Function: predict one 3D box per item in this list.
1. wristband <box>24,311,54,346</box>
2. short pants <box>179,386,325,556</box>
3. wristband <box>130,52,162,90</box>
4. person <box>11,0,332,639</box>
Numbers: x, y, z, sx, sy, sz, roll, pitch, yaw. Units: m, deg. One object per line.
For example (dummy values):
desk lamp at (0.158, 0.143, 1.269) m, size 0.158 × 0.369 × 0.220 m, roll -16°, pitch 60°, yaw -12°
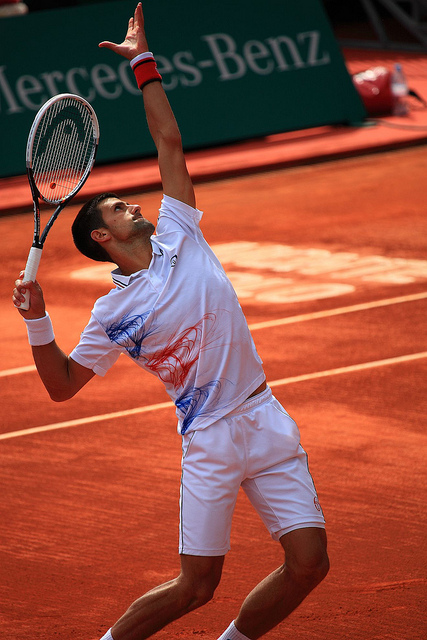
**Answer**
wristband at (-0.604, 0.033, 2.496) m, size 0.110 × 0.105 × 0.107 m, roll -17°, pitch -5°, yaw -26°
short pants at (0.085, 0.505, 2.344) m, size 0.477 × 0.454 × 0.372 m, roll -7°, pitch 16°, yaw -6°
wristband at (-0.260, -0.952, 2.647) m, size 0.097 × 0.143 × 0.217 m, roll -7°, pitch 15°, yaw -4°
person at (-0.197, 0.130, 2.384) m, size 0.818 × 2.042 × 1.027 m, roll -12°, pitch 18°, yaw -18°
